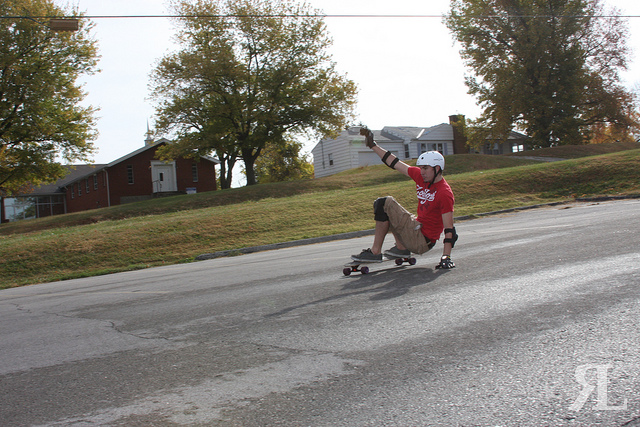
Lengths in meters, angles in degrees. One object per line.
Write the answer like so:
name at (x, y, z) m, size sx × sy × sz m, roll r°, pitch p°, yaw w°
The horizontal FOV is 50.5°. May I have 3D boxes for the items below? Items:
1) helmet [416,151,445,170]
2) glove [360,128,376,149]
helmet at (2.311, -1.106, 14.398) m, size 0.637 × 0.403 × 0.377 m, roll -10°, pitch 6°, yaw -4°
glove at (1.054, -1.678, 14.941) m, size 0.204 × 0.363 × 0.331 m, roll -16°, pitch 9°, yaw 0°
